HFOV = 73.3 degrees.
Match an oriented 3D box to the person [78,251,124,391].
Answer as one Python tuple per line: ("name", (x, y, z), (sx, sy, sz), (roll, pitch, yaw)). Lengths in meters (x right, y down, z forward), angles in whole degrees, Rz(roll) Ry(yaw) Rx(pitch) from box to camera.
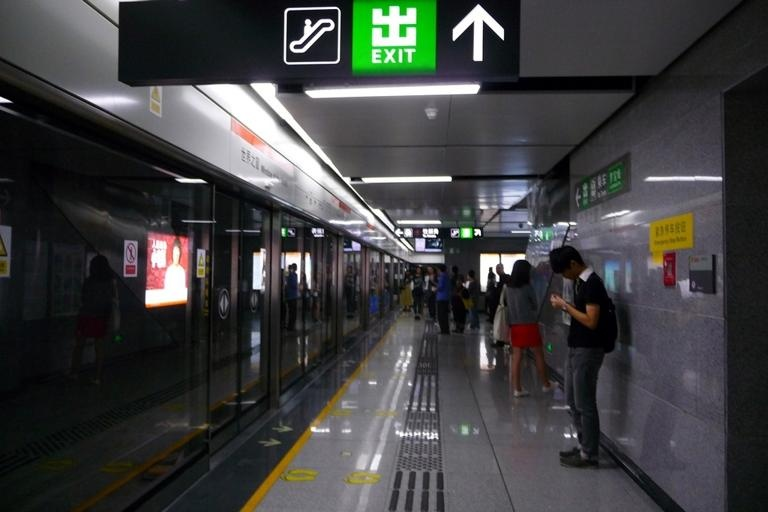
("person", (-2.053, 0.453, 3.712), (0.102, 0.935, 0.343), (1, 2, 9))

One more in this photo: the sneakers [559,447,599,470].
("sneakers", (1.774, 1.816, 4.712), (0.228, 0.097, 0.180), (5, -4, 11))

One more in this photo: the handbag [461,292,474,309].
("handbag", (2.015, 1.081, 12.466), (0.168, 0.508, 0.456), (-10, -3, 20))

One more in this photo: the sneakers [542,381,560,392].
("sneakers", (2.216, 1.720, 6.814), (0.293, 0.134, 0.108), (-7, 6, -31))

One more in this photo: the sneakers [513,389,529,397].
("sneakers", (1.754, 1.748, 6.622), (0.230, 0.105, 0.076), (3, -2, -41))

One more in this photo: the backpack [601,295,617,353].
("backpack", (2.008, 0.603, 4.578), (0.080, 0.486, 0.166), (2, 2, 43))

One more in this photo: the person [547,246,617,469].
("person", (1.795, 0.906, 4.713), (0.405, 1.977, 0.532), (-1, 2, -37))
